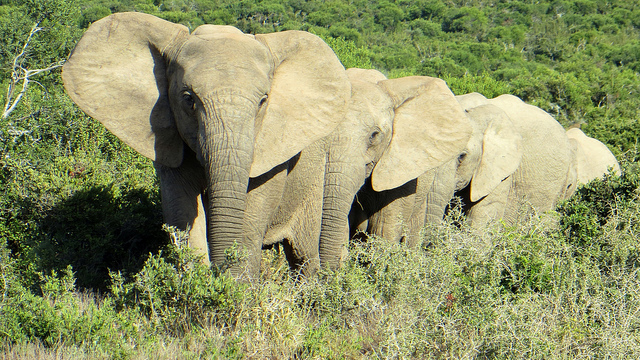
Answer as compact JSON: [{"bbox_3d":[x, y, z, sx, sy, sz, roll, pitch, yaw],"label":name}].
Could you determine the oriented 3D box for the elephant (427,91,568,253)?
[{"bbox_3d":[3.967,-0.436,18.272,4.432,3.257,2.536,5,0,-40],"label":"elephant"}]
